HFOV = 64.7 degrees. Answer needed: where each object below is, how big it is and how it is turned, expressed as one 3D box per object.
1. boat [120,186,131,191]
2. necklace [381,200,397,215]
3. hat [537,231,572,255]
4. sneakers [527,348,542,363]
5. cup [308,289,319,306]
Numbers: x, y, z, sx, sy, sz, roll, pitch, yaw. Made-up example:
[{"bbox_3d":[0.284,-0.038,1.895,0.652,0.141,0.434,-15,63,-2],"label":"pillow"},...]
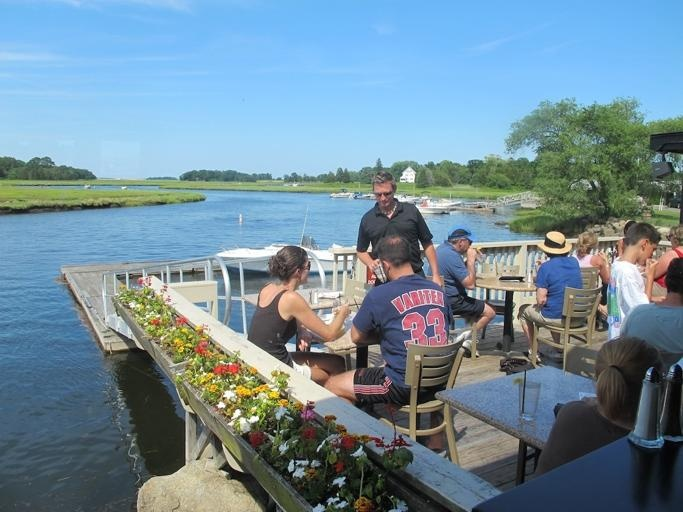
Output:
[{"bbox_3d":[-59.096,-18.427,146.983,1.724,0.634,58.955,-1,7,-23],"label":"boat"},{"bbox_3d":[0.531,-0.556,6.044,0.150,0.169,0.194,-3,18,5],"label":"necklace"},{"bbox_3d":[2.573,-0.148,6.531,0.375,0.145,0.394,-5,24,0],"label":"hat"},{"bbox_3d":[2.358,1.229,6.611,0.122,0.212,0.342,-5,-1,7],"label":"sneakers"},{"bbox_3d":[-0.341,0.514,6.593,0.171,0.259,0.152,2,12,7],"label":"cup"}]
